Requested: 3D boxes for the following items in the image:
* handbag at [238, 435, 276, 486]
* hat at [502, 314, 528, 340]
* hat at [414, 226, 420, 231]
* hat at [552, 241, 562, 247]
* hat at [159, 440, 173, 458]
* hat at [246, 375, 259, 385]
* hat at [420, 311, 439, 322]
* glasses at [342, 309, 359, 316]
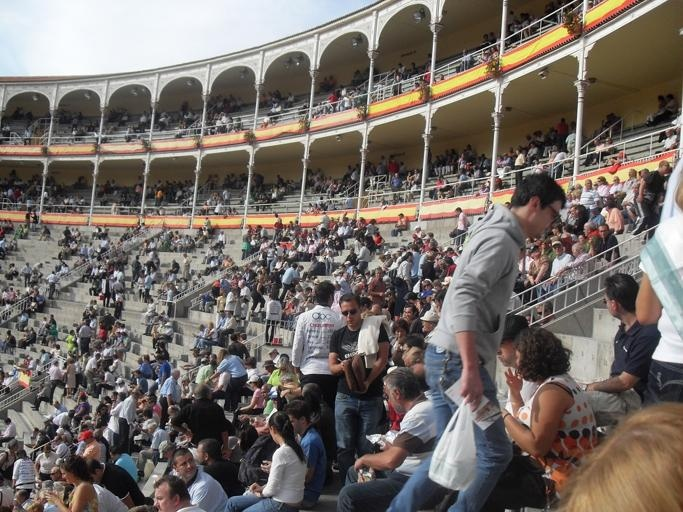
[{"bbox_3d":[-1.404,3.399,14.336,0.440,0.788,0.648,12,-44,-14],"label":"handbag"},{"bbox_3d":[2.503,1.023,12.362,0.403,0.383,0.202,0,-10,-14],"label":"hat"},{"bbox_3d":[2.537,-0.930,28.502,0.215,0.102,0.156,18,-13,-30],"label":"hat"},{"bbox_3d":[4.613,-0.261,18.325,0.195,0.165,0.230,-5,-10,15],"label":"hat"},{"bbox_3d":[-3.264,3.575,16.052,0.269,0.271,0.665,0,-10,-10],"label":"hat"},{"bbox_3d":[-1.895,2.620,18.561,0.269,0.216,0.213,-5,-19,38],"label":"hat"},{"bbox_3d":[1.773,1.177,17.166,0.351,0.261,0.562,-3,-10,3],"label":"hat"},{"bbox_3d":[0.118,0.912,13.963,0.263,0.091,0.101,-7,-11,26],"label":"glasses"}]
